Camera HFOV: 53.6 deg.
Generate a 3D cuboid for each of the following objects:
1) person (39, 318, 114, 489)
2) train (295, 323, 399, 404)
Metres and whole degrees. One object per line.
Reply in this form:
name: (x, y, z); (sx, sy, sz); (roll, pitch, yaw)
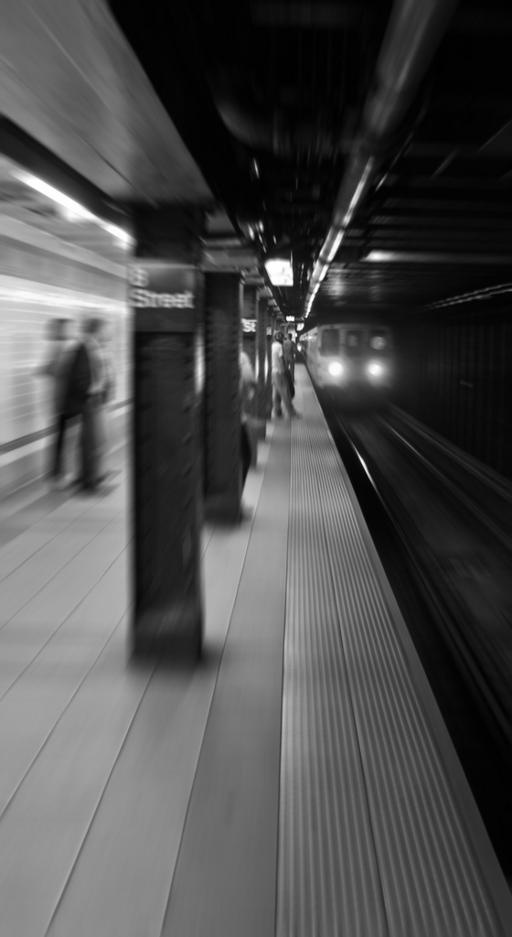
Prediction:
person: (-2.100, -0.697, 5.806); (1.234, 1.934, 0.714); (1, 2, 41)
train: (3.865, -4.028, 19.582); (2.896, 2.887, 2.164); (0, 2, 17)
